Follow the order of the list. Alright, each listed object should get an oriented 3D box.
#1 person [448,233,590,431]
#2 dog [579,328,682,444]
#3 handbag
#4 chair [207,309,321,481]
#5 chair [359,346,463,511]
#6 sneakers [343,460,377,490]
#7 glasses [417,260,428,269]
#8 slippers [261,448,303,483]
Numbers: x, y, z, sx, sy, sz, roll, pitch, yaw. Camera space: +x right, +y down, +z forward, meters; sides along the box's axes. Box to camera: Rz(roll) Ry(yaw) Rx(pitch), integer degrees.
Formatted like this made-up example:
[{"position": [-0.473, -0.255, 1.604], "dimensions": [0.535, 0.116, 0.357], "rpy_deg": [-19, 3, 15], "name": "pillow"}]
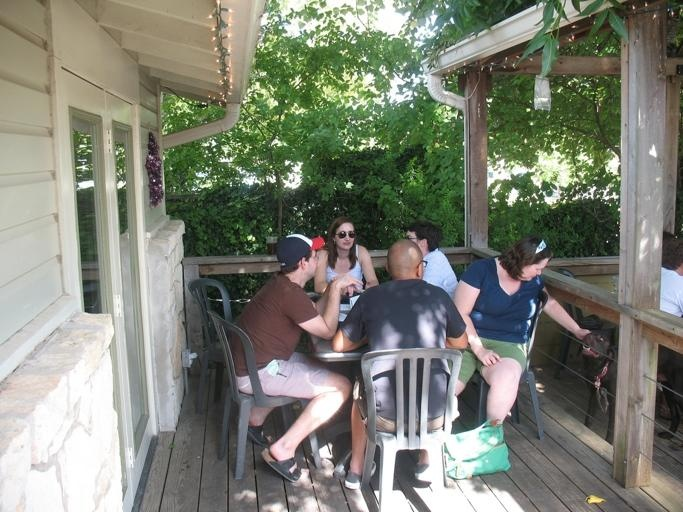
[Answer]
[{"position": [1.408, 0.657, 4.035], "dimensions": [1.153, 1.131, 0.705], "rpy_deg": [12, 10, 19], "name": "person"}, {"position": [2.209, 0.929, 4.066], "dimensions": [0.806, 0.778, 0.669], "rpy_deg": [-4, 11, -14], "name": "dog"}, {"position": [0.862, 1.255, 3.392], "dimensions": [0.389, 0.380, 0.152], "rpy_deg": [-2, -1, -16], "name": "handbag"}, {"position": [-0.585, 0.923, 4.130], "dimensions": [0.983, 1.675, 0.833], "rpy_deg": [-1, 2, -20], "name": "chair"}, {"position": [0.405, 1.019, 3.055], "dimensions": [0.553, 1.089, 0.355], "rpy_deg": [0, 11, 5], "name": "chair"}, {"position": [0.129, 1.445, 3.462], "dimensions": [0.113, 0.112, 0.338], "rpy_deg": [-1, -2, 26], "name": "sneakers"}, {"position": [0.650, 0.051, 4.152], "dimensions": [0.097, 0.063, 0.143], "rpy_deg": [2, 1, 11], "name": "glasses"}, {"position": [-0.402, 1.370, 3.518], "dimensions": [0.257, 0.243, 0.273], "rpy_deg": [-2, 11, -6], "name": "slippers"}]
